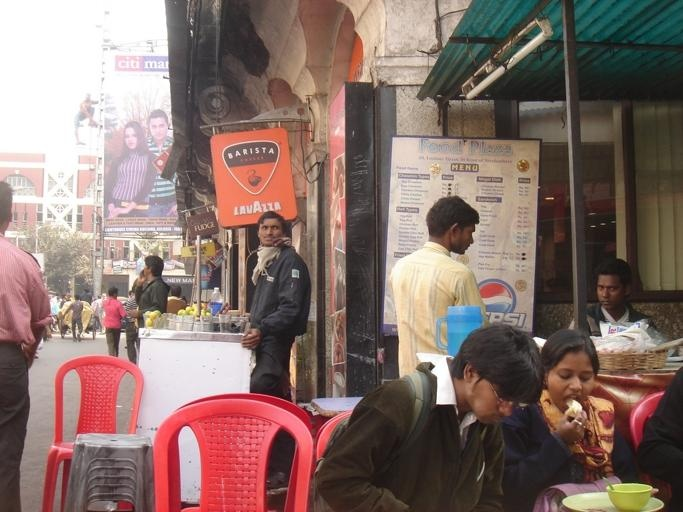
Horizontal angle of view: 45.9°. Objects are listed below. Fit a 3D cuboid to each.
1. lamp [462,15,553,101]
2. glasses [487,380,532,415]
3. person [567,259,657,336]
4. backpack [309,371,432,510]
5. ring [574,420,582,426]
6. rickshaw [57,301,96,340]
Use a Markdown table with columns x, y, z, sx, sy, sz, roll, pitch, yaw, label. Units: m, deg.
| x | y | z | sx | sy | sz | roll | pitch | yaw | label |
| --- | --- | --- | --- | --- | --- | --- | --- | --- | --- |
| 1.283 | -1.736 | 6.399 | 0.302 | 0.285 | 1.120 | -24 | -12 | -24 | lamp |
| 0.844 | 0.715 | 4.098 | 0.057 | 0.172 | 0.160 | -42 | -32 | 19 | glasses |
| 2.346 | 0.404 | 6.878 | 0.430 | 0.815 | 0.781 | -3 | 6 | -41 | person |
| 0.169 | 0.976 | 4.182 | 0.620 | 0.777 | 0.251 | 1 | -2 | 2 | backpack |
| 1.339 | 0.945 | 4.560 | 0.023 | 0.029 | 0.026 | -3 | 0 | -16 | ring |
| -9.448 | 2.143 | 28.556 | 1.047 | 1.703 | 0.695 | 4 | 7 | -33 | rickshaw |
